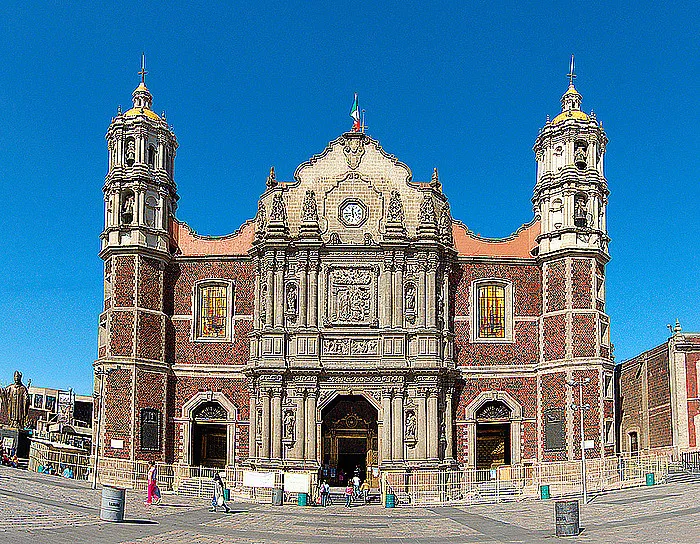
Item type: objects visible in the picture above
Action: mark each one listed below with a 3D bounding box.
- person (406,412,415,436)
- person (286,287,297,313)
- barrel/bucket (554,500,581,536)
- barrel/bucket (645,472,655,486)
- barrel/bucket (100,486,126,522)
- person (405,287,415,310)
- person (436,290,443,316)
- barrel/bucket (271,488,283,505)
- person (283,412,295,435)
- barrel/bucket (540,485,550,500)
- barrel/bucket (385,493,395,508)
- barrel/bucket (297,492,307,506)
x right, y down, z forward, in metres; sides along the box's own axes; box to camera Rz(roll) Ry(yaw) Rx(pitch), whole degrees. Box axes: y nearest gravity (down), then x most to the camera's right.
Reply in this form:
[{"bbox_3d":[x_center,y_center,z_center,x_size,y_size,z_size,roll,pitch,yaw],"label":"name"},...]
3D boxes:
[{"bbox_3d":[3.766,9.456,73.041,0.558,1.641,0.197,0,-15,3],"label":"person"},{"bbox_3d":[-3.713,1.818,74.613,0.673,1.713,0.297,1,-15,-2],"label":"person"},{"bbox_3d":[10.356,11.624,55.008,1.421,1.581,1.439,1,-18,0],"label":"barrel/bucket"},{"bbox_3d":[17.752,12.159,69.112,0.541,0.812,0.945,-3,-16,12],"label":"barrel/bucket"},{"bbox_3d":[-11.214,10.921,55.238,1.042,1.659,0.804,4,-16,-13],"label":"barrel/bucket"},{"bbox_3d":[3.818,1.672,74.481,0.611,1.478,0.212,0,-15,2],"label":"person"},{"bbox_3d":[5.726,2.063,74.709,0.555,1.630,0.193,12,-19,-36],"label":"person"},{"bbox_3d":[-4.196,12.964,67.403,0.795,0.858,0.804,-1,-19,0],"label":"barrel/bucket"},{"bbox_3d":[-3.841,9.440,73.052,0.673,1.584,0.193,1,-15,0],"label":"person"},{"bbox_3d":[11.173,12.490,66.723,0.674,0.773,0.670,0,-3,0],"label":"barrel/bucket"},{"bbox_3d":[2.417,13.166,67.584,0.674,0.758,0.684,1,1,0],"label":"barrel/bucket"},{"bbox_3d":[-2.704,13.127,67.850,0.639,0.854,0.583,1,-15,0],"label":"barrel/bucket"}]
